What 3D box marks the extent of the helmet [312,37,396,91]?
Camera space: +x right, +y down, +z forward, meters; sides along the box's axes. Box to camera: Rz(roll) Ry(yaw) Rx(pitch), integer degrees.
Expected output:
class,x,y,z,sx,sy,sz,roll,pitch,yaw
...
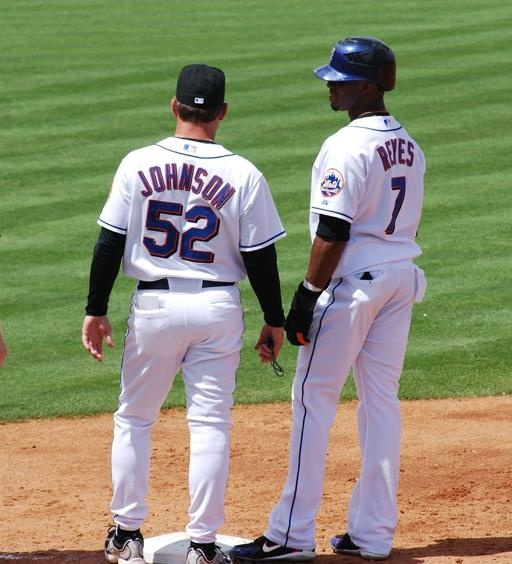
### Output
class,x,y,z,sx,sy,sz,roll,pitch,yaw
helmet,0.514,-1.142,6.256,0.394,0.205,0.265,6,13,2

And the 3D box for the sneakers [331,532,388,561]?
class,x,y,z,sx,sy,sz,roll,pitch,yaw
sneakers,0.554,1.402,6.393,0.306,0.134,0.117,11,6,36

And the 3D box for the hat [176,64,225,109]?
class,x,y,z,sx,sy,sz,roll,pitch,yaw
hat,-0.283,-1.005,6.140,0.207,0.150,0.263,7,29,0

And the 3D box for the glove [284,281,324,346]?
class,x,y,z,sx,sy,sz,roll,pitch,yaw
glove,0.244,0.170,6.228,0.184,0.359,0.111,4,11,3
